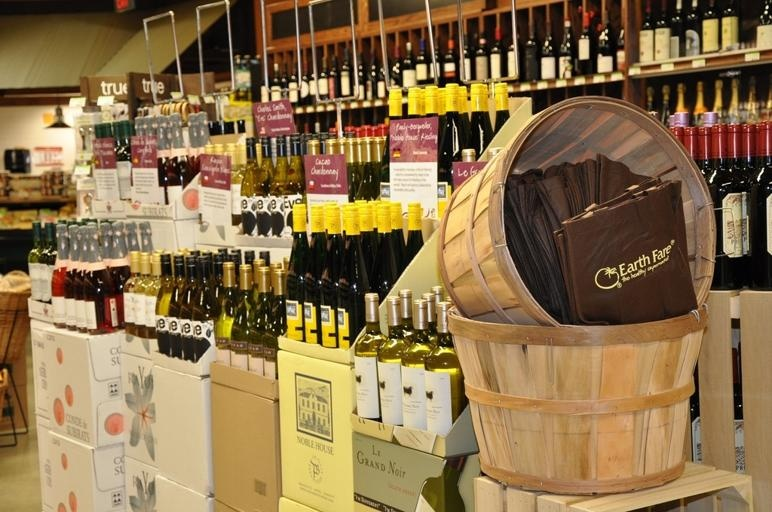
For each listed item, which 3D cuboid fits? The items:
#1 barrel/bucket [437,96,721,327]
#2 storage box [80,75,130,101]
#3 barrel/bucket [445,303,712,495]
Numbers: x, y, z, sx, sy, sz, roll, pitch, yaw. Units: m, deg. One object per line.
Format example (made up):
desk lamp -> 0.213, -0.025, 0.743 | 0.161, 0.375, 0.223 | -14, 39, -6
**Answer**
barrel/bucket -> 0.658, -0.218, 3.053 | 0.769, 0.973, 0.678 | 6, 3, -11
storage box -> -1.884, -1.121, 5.596 | 0.251, 0.202, 0.115 | 0, 4, -1
barrel/bucket -> 0.696, 0.426, 3.002 | 0.645, 0.451, 0.694 | -2, 1, 0
